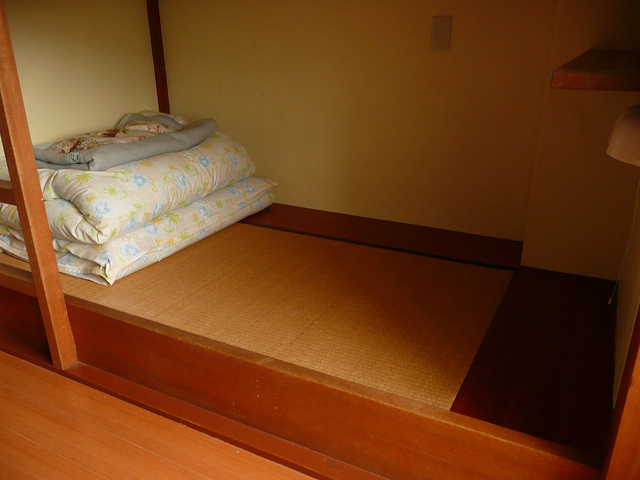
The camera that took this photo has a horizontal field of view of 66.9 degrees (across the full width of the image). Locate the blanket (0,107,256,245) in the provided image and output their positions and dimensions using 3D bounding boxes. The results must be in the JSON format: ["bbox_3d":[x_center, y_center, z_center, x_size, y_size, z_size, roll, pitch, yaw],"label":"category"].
[{"bbox_3d":[-1.038,-0.292,2.902,0.797,0.259,0.932,15,31,23],"label":"blanket"}]
